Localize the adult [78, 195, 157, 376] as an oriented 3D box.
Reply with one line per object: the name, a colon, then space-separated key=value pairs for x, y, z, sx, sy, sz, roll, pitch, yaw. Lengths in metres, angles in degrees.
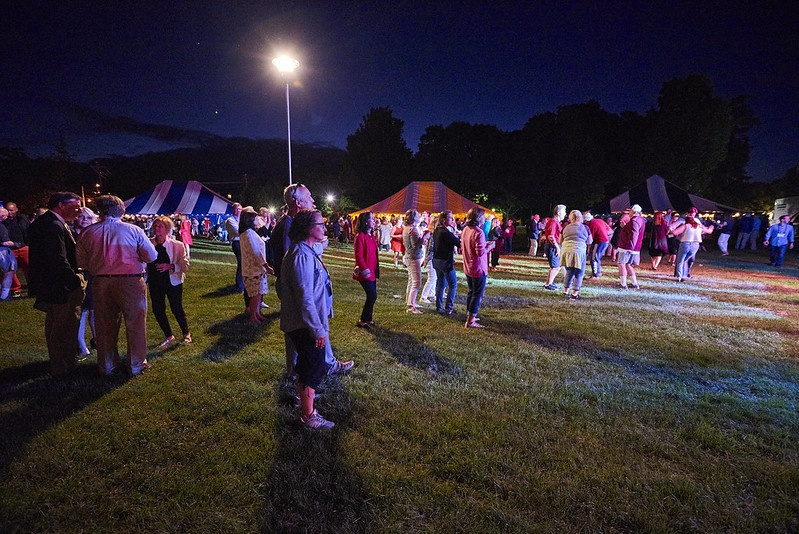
adult: x=-4.257 y=0.250 z=7.693 sx=0.881 sy=2.659 sz=0.791 roll=-1 pitch=10 yaw=-24

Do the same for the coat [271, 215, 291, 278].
coat: x=-1.840 y=-0.416 z=7.866 sx=0.313 sy=0.825 sz=0.570 roll=-2 pitch=12 yaw=-21

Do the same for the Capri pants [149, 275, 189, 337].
Capri pants: x=-3.905 y=0.590 z=8.595 sx=0.476 sy=0.376 sz=1.692 roll=-9 pitch=56 yaw=-27

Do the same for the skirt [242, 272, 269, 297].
skirt: x=-2.743 y=0.356 z=9.771 sx=0.418 sy=0.465 sz=0.438 roll=-3 pitch=5 yaw=0

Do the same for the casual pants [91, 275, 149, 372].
casual pants: x=-4.193 y=0.839 z=7.605 sx=0.694 sy=1.689 sz=0.557 roll=0 pitch=9 yaw=-18

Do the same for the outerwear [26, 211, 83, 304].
outerwear: x=-5.312 y=-0.135 z=7.810 sx=0.902 sy=1.430 sz=0.698 roll=6 pitch=5 yaw=41

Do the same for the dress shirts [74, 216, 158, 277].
dress shirts: x=-4.208 y=-0.286 z=7.523 sx=1.003 sy=0.901 sz=0.555 roll=-5 pitch=22 yaw=-29

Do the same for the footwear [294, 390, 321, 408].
footwear: x=-1.300 y=1.877 z=7.231 sx=0.435 sy=0.090 sz=0.343 roll=-1 pitch=13 yaw=-10

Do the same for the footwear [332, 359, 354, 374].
footwear: x=-0.894 y=1.573 z=8.008 sx=0.385 sy=0.191 sz=0.136 roll=-9 pitch=18 yaw=-31

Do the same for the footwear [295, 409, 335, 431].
footwear: x=-1.113 y=2.026 z=6.732 sx=0.495 sy=0.257 sz=0.194 roll=3 pitch=2 yaw=-6

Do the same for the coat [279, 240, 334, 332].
coat: x=-1.287 y=0.205 z=7.120 sx=0.827 sy=1.552 sz=1.608 roll=0 pitch=7 yaw=-13
